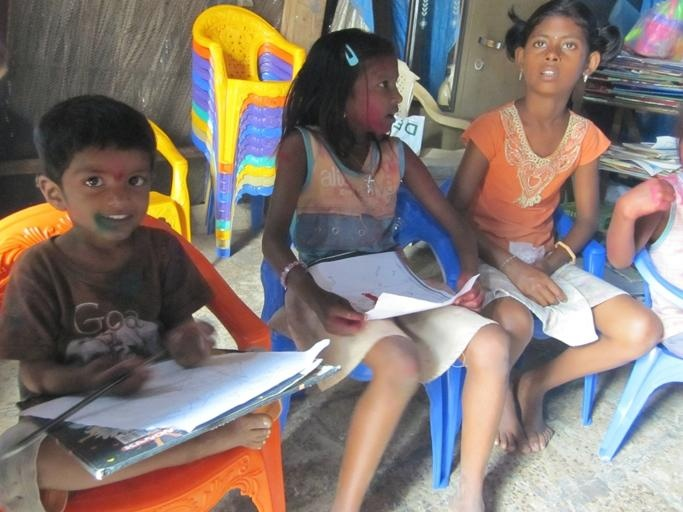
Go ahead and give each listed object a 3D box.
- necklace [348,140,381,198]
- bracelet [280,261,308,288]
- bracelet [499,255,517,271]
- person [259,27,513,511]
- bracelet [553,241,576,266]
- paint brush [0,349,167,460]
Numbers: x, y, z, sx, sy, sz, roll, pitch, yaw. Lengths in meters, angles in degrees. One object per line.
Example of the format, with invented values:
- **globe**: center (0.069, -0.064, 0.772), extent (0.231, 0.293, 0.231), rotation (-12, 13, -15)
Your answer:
- **necklace**: center (0.097, -0.278, 1.941), extent (0.098, 0.174, 0.041), rotation (-4, -8, -2)
- **bracelet**: center (-0.149, 0.056, 1.799), extent (0.069, 0.074, 0.038), rotation (-12, 28, -30)
- **bracelet**: center (0.606, 0.025, 2.151), extent (0.014, 0.051, 0.043), rotation (30, 20, -3)
- **person**: center (0.132, 0.047, 1.848), extent (0.754, 1.356, 0.875), rotation (0, 24, -8)
- **bracelet**: center (0.849, -0.007, 2.242), extent (0.029, 0.078, 0.067), rotation (-39, 44, 5)
- **paint brush**: center (-0.586, 0.344, 1.348), extent (0.464, 0.024, 0.064), rotation (-30, 39, -29)
